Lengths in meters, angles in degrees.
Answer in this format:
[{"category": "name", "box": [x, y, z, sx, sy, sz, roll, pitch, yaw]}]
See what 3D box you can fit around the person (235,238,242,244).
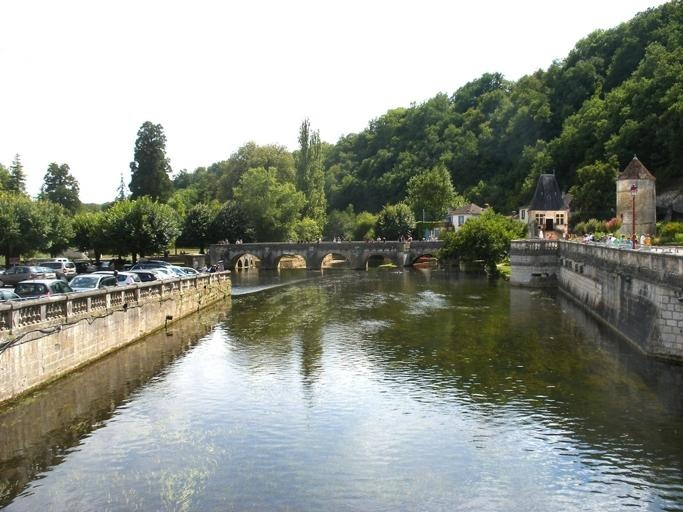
[{"category": "person", "box": [-17.813, -2.613, 108.912, 0.956, 1.295, 1.164, -6, 0, -26]}]
